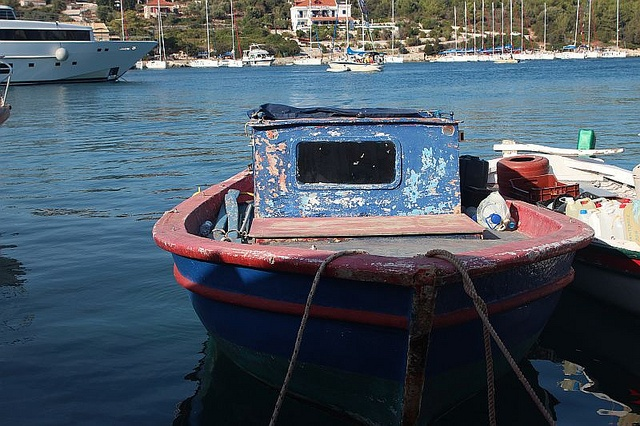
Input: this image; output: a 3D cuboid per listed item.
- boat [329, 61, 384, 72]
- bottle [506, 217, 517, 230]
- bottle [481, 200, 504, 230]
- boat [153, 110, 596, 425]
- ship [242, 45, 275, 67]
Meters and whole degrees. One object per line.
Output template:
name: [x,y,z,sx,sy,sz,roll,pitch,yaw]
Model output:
boat: [4.407,-19.536,81.998,8.031,1.348,2.371,5,9,17]
bottle: [2.447,0.144,8.088,0.142,0.056,0.167,-1,49,6]
bottle: [2.099,0.025,7.881,0.296,0.302,0.297,6,28,-11]
boat: [0.469,0.530,7.062,4.361,3.312,2.975,6,17,26]
ship: [-11.622,-28.577,116.129,4.175,4.161,9.125,0,4,3]
